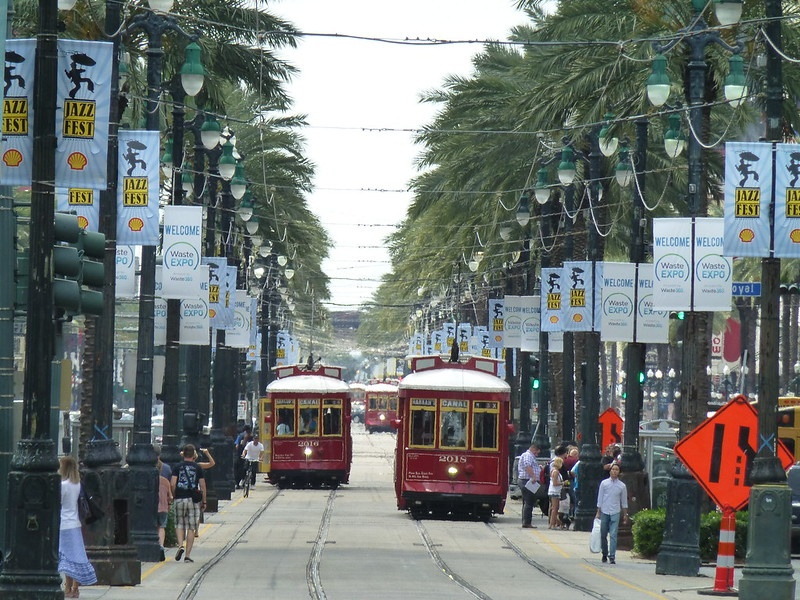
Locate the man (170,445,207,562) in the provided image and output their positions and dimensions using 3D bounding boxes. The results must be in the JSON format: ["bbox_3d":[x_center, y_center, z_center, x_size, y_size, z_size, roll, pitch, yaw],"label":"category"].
[{"bbox_3d":[-4.131,3.986,37.089,0.602,2.280,1.056,1,-5,-8],"label":"man"}]

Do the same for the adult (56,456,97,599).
[{"bbox_3d":[-5.410,3.829,31.740,0.569,2.363,0.751,0,-4,5],"label":"adult"}]

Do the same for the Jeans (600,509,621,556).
[{"bbox_3d":[4.193,4.801,38.424,0.332,0.915,0.960,-1,-6,13],"label":"Jeans"}]

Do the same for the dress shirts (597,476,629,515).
[{"bbox_3d":[4.305,4.005,38.614,0.706,1.090,0.386,3,-10,-11],"label":"dress shirts"}]

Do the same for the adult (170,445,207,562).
[{"bbox_3d":[-4.131,3.986,37.088,0.602,2.280,1.059,1,-5,-8],"label":"adult"}]

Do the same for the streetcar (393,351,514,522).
[{"bbox_3d":[1.184,3.202,45.832,2.853,2.229,3.200,1,4,-2],"label":"streetcar"}]

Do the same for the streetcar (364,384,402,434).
[{"bbox_3d":[-0.415,6.287,108.663,1.644,2.281,3.146,5,-3,-37],"label":"streetcar"}]

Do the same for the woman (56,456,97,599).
[{"bbox_3d":[-5.402,3.831,31.754,0.576,2.363,0.794,1,-5,-3],"label":"woman"}]
